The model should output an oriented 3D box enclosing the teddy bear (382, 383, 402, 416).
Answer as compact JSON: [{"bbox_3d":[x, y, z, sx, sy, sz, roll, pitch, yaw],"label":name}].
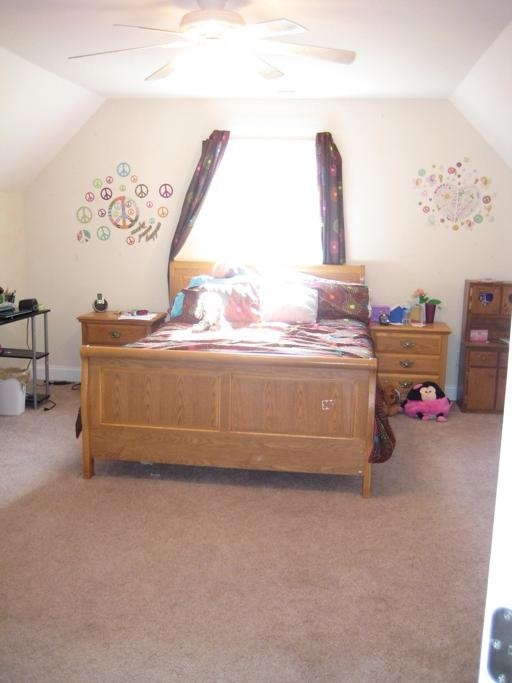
[{"bbox_3d":[1.055,0.447,4.276,0.097,0.247,0.361,6,10,29],"label":"teddy bear"}]

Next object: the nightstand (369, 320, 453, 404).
[{"bbox_3d":[1.254,0.125,4.564,0.613,0.659,0.362,1,27,14],"label":"nightstand"}]

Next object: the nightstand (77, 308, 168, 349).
[{"bbox_3d":[-1.114,-0.131,4.538,0.491,0.475,0.314,2,9,7],"label":"nightstand"}]

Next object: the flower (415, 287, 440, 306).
[{"bbox_3d":[1.410,-0.357,4.537,0.210,0.134,0.182,4,9,17],"label":"flower"}]

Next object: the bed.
[{"bbox_3d":[-0.099,-0.008,3.700,1.486,1.001,2.031,2,17,4],"label":"bed"}]

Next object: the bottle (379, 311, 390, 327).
[{"bbox_3d":[1.046,-0.183,4.505,0.119,0.156,0.084,1,8,12],"label":"bottle"}]

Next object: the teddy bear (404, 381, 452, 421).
[{"bbox_3d":[1.296,0.456,4.188,0.292,0.172,0.279,-2,14,1],"label":"teddy bear"}]
